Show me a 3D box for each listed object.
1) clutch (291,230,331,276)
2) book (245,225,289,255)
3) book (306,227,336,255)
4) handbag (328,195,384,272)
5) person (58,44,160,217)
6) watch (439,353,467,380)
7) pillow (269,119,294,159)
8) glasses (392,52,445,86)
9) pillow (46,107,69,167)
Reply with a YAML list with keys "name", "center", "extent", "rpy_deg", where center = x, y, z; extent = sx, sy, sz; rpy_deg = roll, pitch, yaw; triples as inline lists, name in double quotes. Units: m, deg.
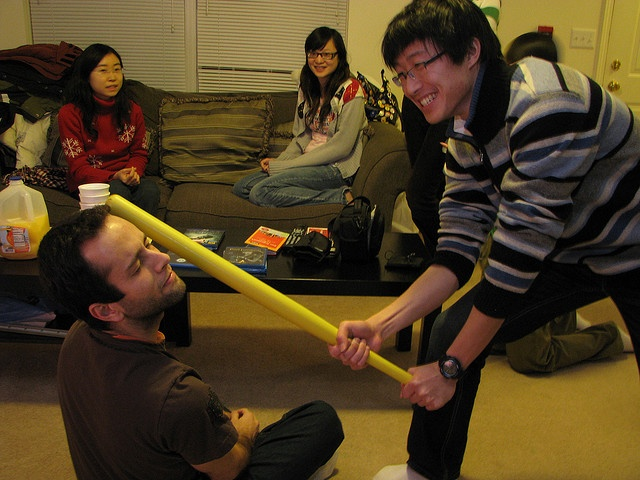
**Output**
- name: "clutch"
  center: [-0.043, 0.050, 2.694]
  extent: [0.184, 0.144, 0.068]
  rpy_deg: [11, -25, -17]
- name: "book"
  center: [-0.284, -0.007, 2.913]
  extent: [0.152, 0.037, 0.156]
  rpy_deg: [15, 34, 16]
- name: "book"
  center: [0.012, -0.011, 2.891]
  extent: [0.033, 0.140, 0.137]
  rpy_deg: [23, -16, -40]
- name: "handbag"
  center: [0.189, -0.032, 2.686]
  extent: [0.308, 0.345, 0.271]
  rpy_deg: [1, 13, 9]
- name: "person"
  center: [-1.357, -0.724, 3.509]
  extent: [0.594, 1.033, 0.485]
  rpy_deg: [-1, 14, -27]
- name: "watch"
  center: [0.419, 0.409, 1.752]
  extent: [0.058, 0.093, 0.086]
  rpy_deg: [-30, 8, 12]
- name: "pillow"
  center: [-0.311, -0.800, 4.265]
  extent: [0.239, 0.289, 0.068]
  rpy_deg: [-8, -32, 31]
- name: "glasses"
  center: [0.299, -0.536, 1.684]
  extent: [0.087, 0.024, 0.085]
  rpy_deg: [-48, 16, -18]
- name: "pillow"
  center: [-1.805, -0.679, 3.702]
  extent: [0.237, 0.331, 0.116]
  rpy_deg: [1, 1, 30]
